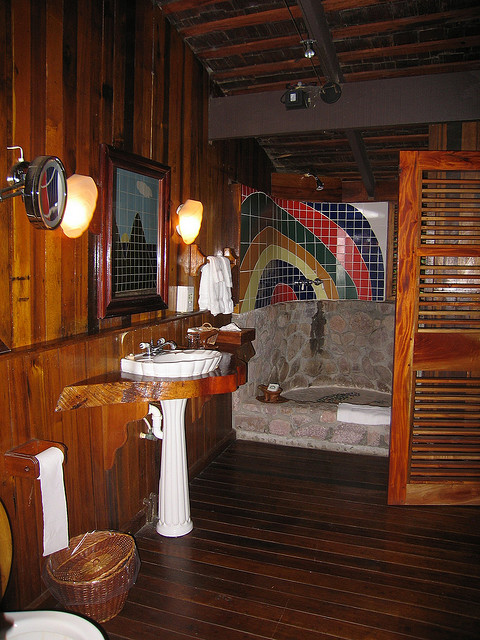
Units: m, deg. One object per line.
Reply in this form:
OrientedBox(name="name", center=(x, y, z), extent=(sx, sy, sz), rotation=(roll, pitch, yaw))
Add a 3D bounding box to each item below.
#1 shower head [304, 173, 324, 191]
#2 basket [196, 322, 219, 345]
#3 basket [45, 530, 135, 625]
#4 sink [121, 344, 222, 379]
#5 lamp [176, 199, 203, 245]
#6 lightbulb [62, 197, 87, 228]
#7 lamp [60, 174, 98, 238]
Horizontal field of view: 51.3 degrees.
OrientedBox(name="shower head", center=(0.757, -1.420, 5.092), extent=(0.188, 0.156, 0.458), rotation=(1, 4, 9))
OrientedBox(name="basket", center=(-0.208, 0.085, 3.094), extent=(0.114, 0.124, 0.293), rotation=(2, 4, 14))
OrientedBox(name="basket", center=(-0.555, 0.979, 1.880), extent=(0.306, 0.236, 0.300), rotation=(1, 14, 2))
OrientedBox(name="sink", center=(-0.283, 0.175, 2.283), extent=(0.380, 0.111, 0.418), rotation=(4, 5, 35))
OrientedBox(name="lamp", center=(-0.289, -0.576, 2.892), extent=(0.127, 0.266, 0.057), rotation=(1, 6, -28))
OrientedBox(name="lightbulb", center=(-0.603, -0.398, 1.843), extent=(0.032, 0.109, 0.110), rotation=(2, 4, 23))
OrientedBox(name="lamp", center=(-0.594, -0.422, 1.850), extent=(0.064, 0.206, 0.149), rotation=(12, 6, 18))
